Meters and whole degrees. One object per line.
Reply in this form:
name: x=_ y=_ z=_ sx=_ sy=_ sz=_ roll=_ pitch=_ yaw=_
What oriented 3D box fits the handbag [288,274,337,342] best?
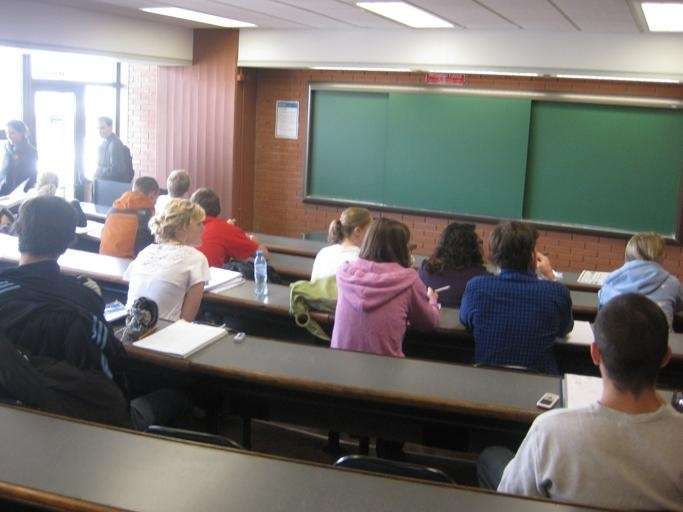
handbag: x=-0.177 y=0.291 z=3.455 sx=0.296 sy=0.416 sz=0.171 roll=-10 pitch=10 yaw=-5

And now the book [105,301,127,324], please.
book: x=-1.255 y=0.311 z=3.052 sx=0.107 sy=0.028 sz=0.106 roll=13 pitch=23 yaw=13

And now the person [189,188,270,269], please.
person: x=-1.087 y=-0.298 z=5.327 sx=0.586 sy=0.977 sz=0.565 roll=14 pitch=40 yaw=15

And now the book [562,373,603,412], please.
book: x=0.978 y=0.560 z=2.238 sx=0.215 sy=0.054 sz=0.204 roll=6 pitch=14 yaw=27

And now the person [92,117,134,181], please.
person: x=-3.167 y=-1.452 z=7.502 sx=0.505 sy=0.899 sz=0.457 roll=-1 pitch=11 yaw=-3
